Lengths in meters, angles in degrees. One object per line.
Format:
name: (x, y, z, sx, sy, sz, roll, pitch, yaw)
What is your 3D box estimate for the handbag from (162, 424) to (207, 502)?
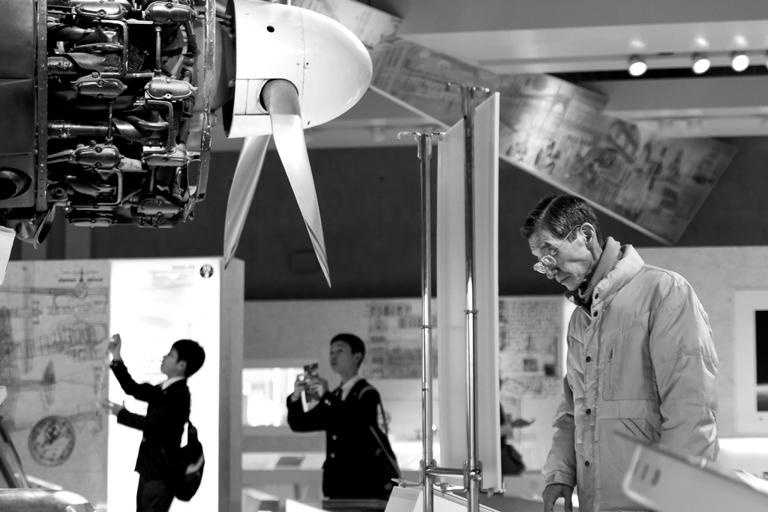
handbag: (-1.237, 1.340, 8.461, 0.259, 0.429, 0.435, 0, -3, 2)

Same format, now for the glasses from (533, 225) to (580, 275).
glasses: (0.953, -0.023, 7.261, 0.080, 0.261, 0.217, 32, -40, -3)
